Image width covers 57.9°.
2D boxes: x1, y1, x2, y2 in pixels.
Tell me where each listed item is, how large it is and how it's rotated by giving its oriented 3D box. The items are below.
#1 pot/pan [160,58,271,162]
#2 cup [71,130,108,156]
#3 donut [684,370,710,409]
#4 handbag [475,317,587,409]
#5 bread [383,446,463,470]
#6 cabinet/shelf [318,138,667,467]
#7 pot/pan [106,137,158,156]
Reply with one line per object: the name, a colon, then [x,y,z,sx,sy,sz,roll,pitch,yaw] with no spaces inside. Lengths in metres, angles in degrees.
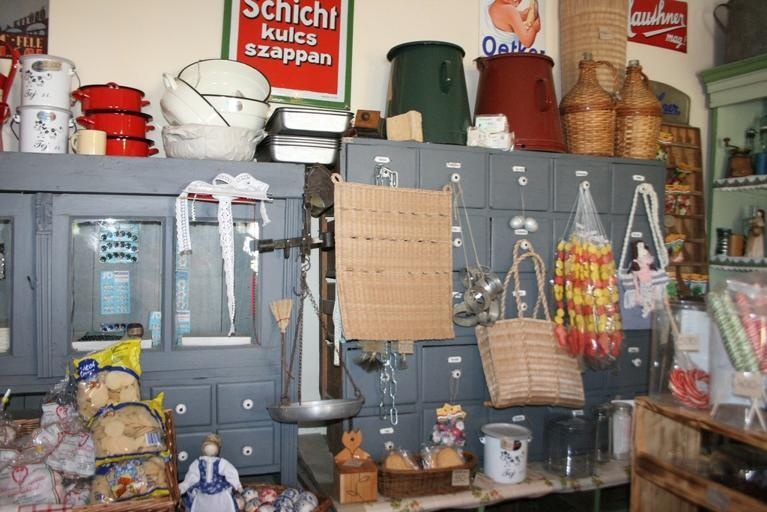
pot/pan: [-0.779,-0.666,3.358,0.486,0.347,0.487,6,8,27]
cup: [-1.373,-0.528,3.256,0.166,0.133,0.128,-2,8,-23]
donut: [1.312,0.553,2.909,0.096,0.176,0.061,-2,-1,7]
handbag: [0.826,0.572,3.608,0.108,0.431,0.547,-1,-4,-39]
bread: [0.203,0.995,3.393,0.267,0.048,0.151,0,-2,-4]
cabinet/shelf: [0.490,0.265,3.548,1.636,1.505,0.591,1,2,-15]
pot/pan: [-1.198,-0.518,3.297,0.128,0.049,0.113,2,-4,-32]
